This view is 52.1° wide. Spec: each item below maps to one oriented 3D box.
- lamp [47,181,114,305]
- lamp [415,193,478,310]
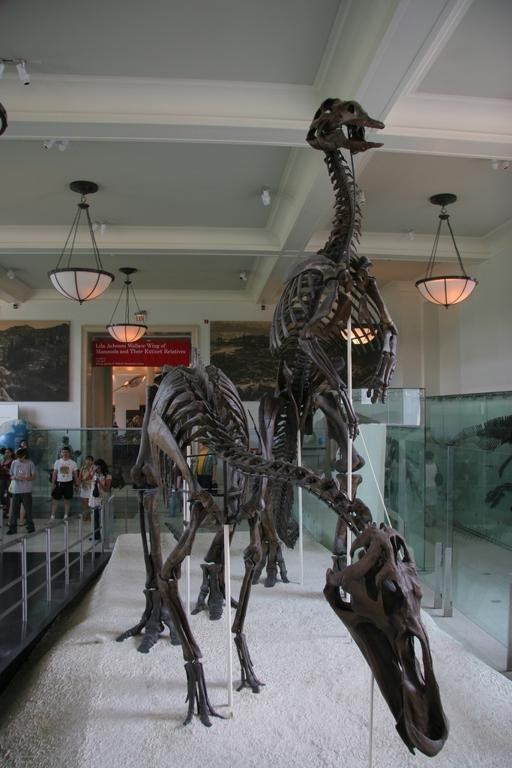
[{"bbox_3d":[-1.807,-1.446,5.429,0.604,1.284,0.594,-2,-7,6],"label":"lamp"},{"bbox_3d":[2.216,-1.580,6.181,0.652,1.273,0.620,-3,-7,36],"label":"lamp"}]
